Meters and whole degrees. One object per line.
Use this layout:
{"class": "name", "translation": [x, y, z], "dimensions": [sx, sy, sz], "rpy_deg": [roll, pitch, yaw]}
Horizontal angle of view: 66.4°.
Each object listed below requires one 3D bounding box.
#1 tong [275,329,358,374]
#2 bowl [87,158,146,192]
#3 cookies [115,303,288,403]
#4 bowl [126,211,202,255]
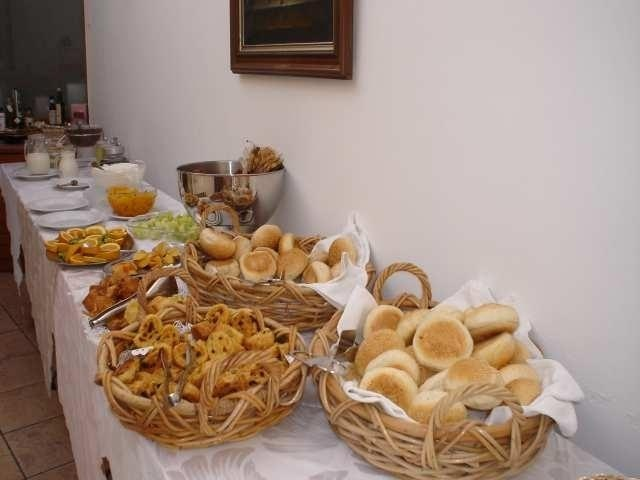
{"class": "tong", "translation": [-0.009, 0.207, 0.916], "dimensions": [0.099, 0.042, 0.103], "rpy_deg": [14, 9, 29]}
{"class": "bowl", "translation": [-0.865, -0.297, 2.097], "dimensions": [0.168, 0.143, 0.190], "rpy_deg": [-9, 18, -35]}
{"class": "cookies", "translation": [-0.239, 0.151, 0.933], "dimensions": [0.203, 0.069, 0.212], "rpy_deg": [2, 14, -2]}
{"class": "bowl", "translation": [-0.505, -0.053, 1.662], "dimensions": [0.225, 0.153, 0.252], "rpy_deg": [-2, 14, -11]}
